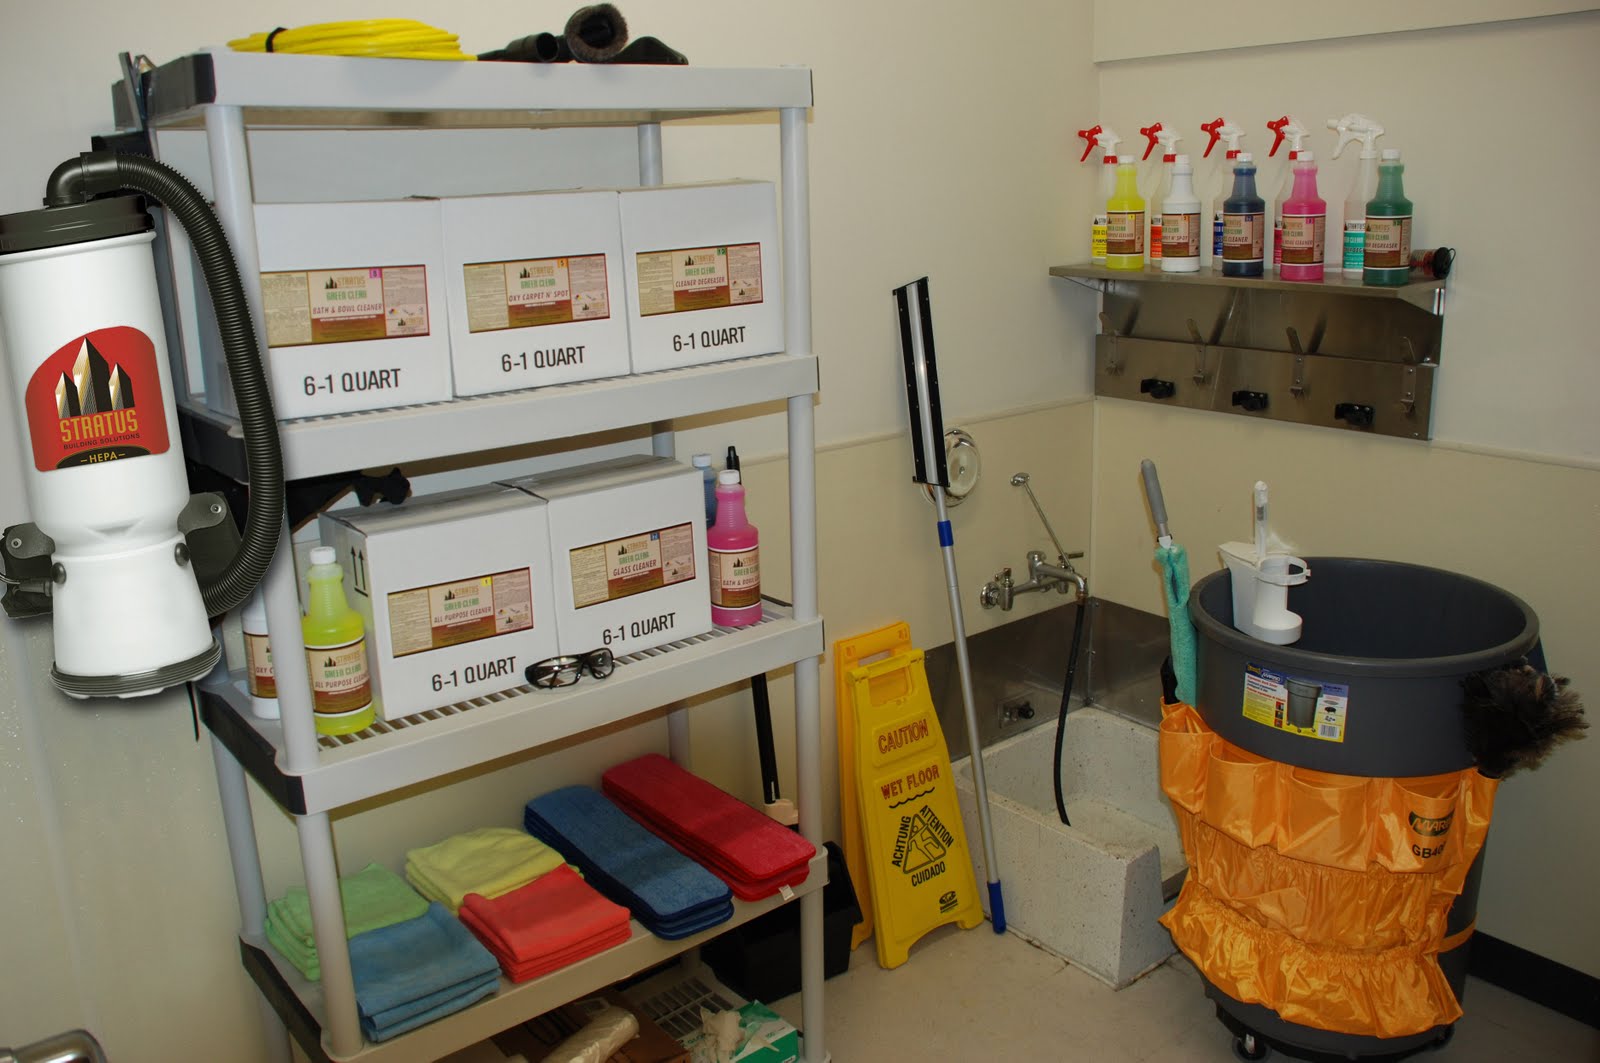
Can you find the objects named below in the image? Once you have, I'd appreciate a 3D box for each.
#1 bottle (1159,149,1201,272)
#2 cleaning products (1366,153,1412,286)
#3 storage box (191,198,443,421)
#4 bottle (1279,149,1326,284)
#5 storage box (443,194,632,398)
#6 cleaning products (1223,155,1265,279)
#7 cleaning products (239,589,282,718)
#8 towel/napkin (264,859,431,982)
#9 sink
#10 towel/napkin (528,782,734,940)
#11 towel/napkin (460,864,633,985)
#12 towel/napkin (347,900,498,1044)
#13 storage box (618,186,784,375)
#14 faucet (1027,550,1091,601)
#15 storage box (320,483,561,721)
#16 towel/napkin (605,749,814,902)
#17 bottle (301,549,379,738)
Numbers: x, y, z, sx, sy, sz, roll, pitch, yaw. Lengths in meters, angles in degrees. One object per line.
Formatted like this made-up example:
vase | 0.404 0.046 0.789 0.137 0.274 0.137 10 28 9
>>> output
bottle | 1.053 -0.851 3.207 0.133 0.303 0.133 -2 18 1
cleaning products | 1.434 -0.753 2.877 0.112 0.302 0.192 7 20 25
storage box | -0.806 -0.377 2.013 0.359 0.345 0.189 -10 12 -33
bottle | 1.286 -0.795 3.020 0.116 0.302 0.222 6 19 22
storage box | -0.498 -0.438 2.197 0.347 0.339 0.113 -9 11 -30
cleaning products | 1.158 -0.811 3.075 0.108 0.298 0.116 4 19 17
cleaning products | -1.011 0.226 2.203 0.035 0.239 0.132 -18 24 -40
towel/napkin | -0.946 0.764 2.491 0.235 0.084 0.253 11 13 42
sink | 0.786 0.859 3.377 0.630 0.395 0.647 -15 22 -36
towel/napkin | -0.401 0.696 2.632 0.200 0.073 0.499 -10 26 -38
towel/napkin | -0.492 0.781 2.401 0.202 0.066 0.199 -12 23 -36
towel/napkin | -0.728 0.838 2.291 0.203 0.070 0.205 -5 16 -36
storage box | -0.206 -0.493 2.341 0.332 0.308 0.111 -13 19 -34
faucet | 0.781 0.153 3.542 0.162 0.099 0.154 12 19 42
storage box | -0.679 0.142 2.223 0.381 0.348 0.202 -12 12 -34
towel/napkin | -0.229 0.637 2.711 0.215 0.090 0.472 -15 32 -41
bottle | -0.839 0.202 2.149 0.106 0.329 0.091 -9 19 -22
